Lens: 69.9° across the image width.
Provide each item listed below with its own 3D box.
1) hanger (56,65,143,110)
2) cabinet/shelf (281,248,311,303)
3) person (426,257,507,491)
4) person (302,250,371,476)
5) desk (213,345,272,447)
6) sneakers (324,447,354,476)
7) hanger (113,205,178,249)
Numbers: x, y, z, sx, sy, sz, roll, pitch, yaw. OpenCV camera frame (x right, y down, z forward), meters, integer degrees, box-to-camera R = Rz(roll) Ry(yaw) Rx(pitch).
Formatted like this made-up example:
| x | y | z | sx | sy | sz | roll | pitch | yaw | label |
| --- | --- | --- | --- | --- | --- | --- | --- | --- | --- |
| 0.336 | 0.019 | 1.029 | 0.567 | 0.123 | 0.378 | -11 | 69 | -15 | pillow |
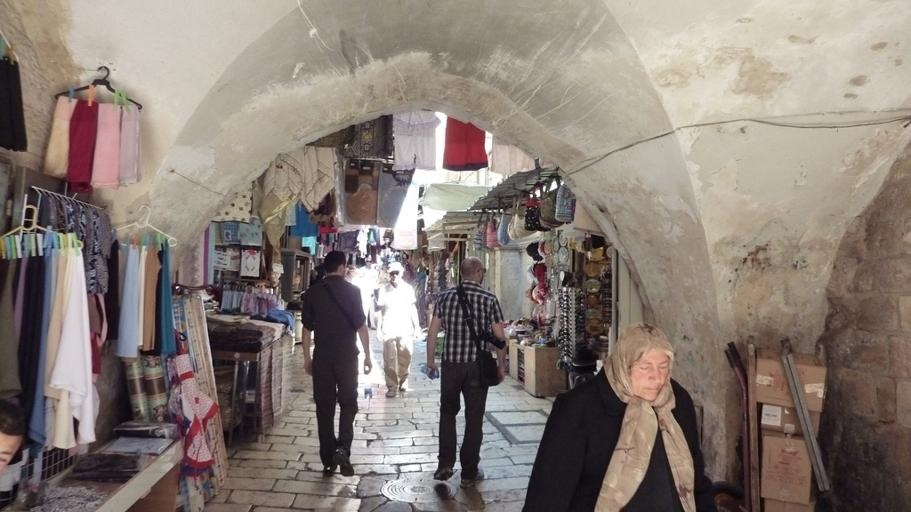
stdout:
| x | y | z | sx | sy | sz | roll | pitch | yaw | label |
| --- | --- | --- | --- | --- | --- | --- | --- | --- | --- |
| -2.983 | -1.423 | 5.453 | 0.639 | 0.349 | 0.191 | 2 | 10 | -1 | hanger |
| -3.148 | 0.371 | 12.733 | 0.356 | 0.655 | 1.151 | 1 | 2 | -4 | cabinet/shelf |
| 0.102 | 1.240 | 7.188 | 0.843 | 2.368 | 0.842 | 1 | 10 | -2 | person |
| -1.327 | 1.189 | 7.271 | 0.742 | 2.390 | 0.985 | 0 | 10 | -13 | person |
| -2.613 | 1.681 | 7.981 | 0.655 | 1.154 | 0.810 | 0 | 10 | -8 | desk |
| -1.267 | 2.262 | 7.084 | 0.234 | 0.175 | 0.400 | 7 | -38 | -4 | sneakers |
| -2.829 | -0.269 | 5.906 | 0.409 | 0.233 | 0.018 | 13 | -1 | -27 | hanger |
